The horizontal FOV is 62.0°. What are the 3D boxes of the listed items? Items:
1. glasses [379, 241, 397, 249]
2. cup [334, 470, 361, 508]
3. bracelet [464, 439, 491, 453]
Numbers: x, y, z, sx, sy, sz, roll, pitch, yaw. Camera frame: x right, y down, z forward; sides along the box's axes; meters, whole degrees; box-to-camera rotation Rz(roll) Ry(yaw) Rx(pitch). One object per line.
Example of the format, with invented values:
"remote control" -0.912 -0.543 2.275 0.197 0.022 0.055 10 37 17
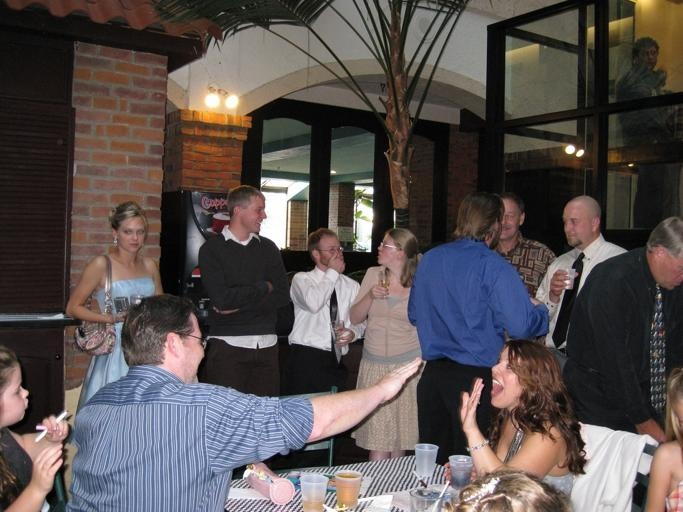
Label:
"glasses" 0.305 -0.070 3.823 0.132 0.048 0.049 3 5 44
"cup" 0.019 0.938 2.317 0.124 0.128 0.121 0 -4 0
"bracelet" 0.616 0.842 2.540 0.097 0.025 0.082 -11 1 -23
